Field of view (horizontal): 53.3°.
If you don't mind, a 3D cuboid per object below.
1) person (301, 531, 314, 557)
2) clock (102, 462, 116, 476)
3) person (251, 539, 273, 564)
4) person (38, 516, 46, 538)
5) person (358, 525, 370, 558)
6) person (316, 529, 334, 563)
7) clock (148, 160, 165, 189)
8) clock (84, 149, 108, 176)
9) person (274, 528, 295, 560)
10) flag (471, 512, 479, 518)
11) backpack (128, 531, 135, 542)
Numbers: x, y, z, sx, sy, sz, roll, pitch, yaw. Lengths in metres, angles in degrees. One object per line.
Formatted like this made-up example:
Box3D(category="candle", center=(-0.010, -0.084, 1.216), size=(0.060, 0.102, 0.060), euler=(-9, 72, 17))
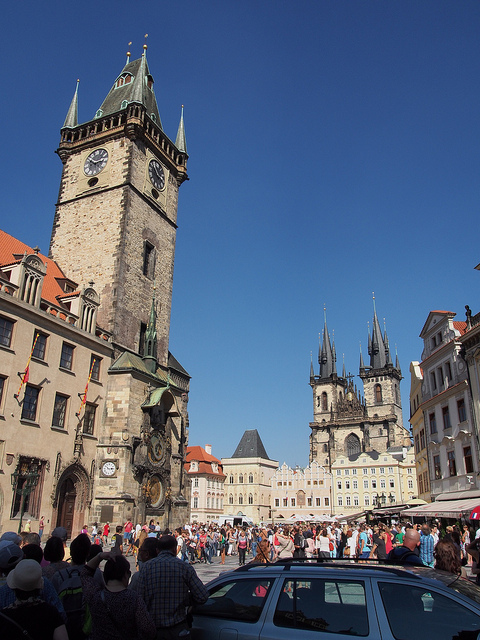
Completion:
Box3D(category="person", center=(2.291, 7.510, 15.948), size=(0.307, 0.711, 1.434), euler=(-3, -22, 7))
Box3D(category="clock", center=(-6.539, 7.480, 23.978), size=(0.501, 0.587, 0.057), euler=(-7, -21, 12))
Box3D(category="person", center=(0.464, 4.690, 9.704), size=(0.284, 0.440, 0.871), euler=(-1, -21, 0))
Box3D(category="person", center=(-8.425, 8.792, 20.384), size=(0.197, 0.774, 0.915), euler=(7, -22, -20))
Box3D(category="person", center=(3.860, 7.097, 15.063), size=(0.328, 0.739, 1.372), euler=(-5, -22, 13))
Box3D(category="person", center=(2.806, 7.295, 15.636), size=(0.481, 0.830, 1.738), euler=(-4, -22, 9))
Box3D(category="clock", center=(-5.952, -10.183, 33.667), size=(0.185, 2.475, 2.275), euler=(-9, -10, 16))
Box3D(category="clock", center=(-9.643, -10.575, 32.277), size=(1.784, 2.047, 0.156), euler=(-12, -22, 35))
Box3D(category="person", center=(1.286, 6.513, 13.900), size=(0.583, 0.708, 1.018), euler=(-2, -21, 4))
Box3D(category="flag", center=(6.079, 5.065, 12.405), size=(0.194, 0.119, 0.402), euler=(-11, -24, 24))
Box3D(category="backpack", center=(-5.283, 10.511, 23.251), size=(0.145, 0.475, 0.325), euler=(4, -12, 4))
